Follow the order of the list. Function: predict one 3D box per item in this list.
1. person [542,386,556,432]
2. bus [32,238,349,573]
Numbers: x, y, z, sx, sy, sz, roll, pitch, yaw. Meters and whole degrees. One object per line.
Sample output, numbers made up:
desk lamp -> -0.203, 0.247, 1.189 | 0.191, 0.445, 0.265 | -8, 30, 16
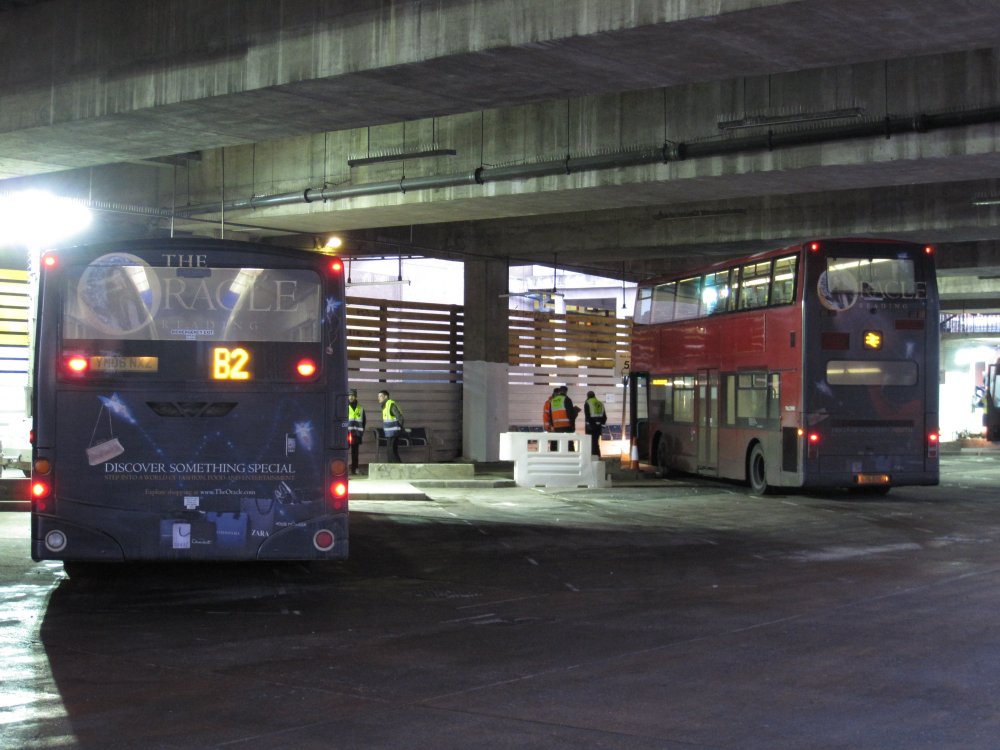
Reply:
person -> 1.400, 1.037, 35.826 | 0.417, 1.109, 1.394 | 3, 1, 10
bus -> -3.563, 0.339, 14.041 | 3.689, 3.487, 1.372 | 0, -3, -5
